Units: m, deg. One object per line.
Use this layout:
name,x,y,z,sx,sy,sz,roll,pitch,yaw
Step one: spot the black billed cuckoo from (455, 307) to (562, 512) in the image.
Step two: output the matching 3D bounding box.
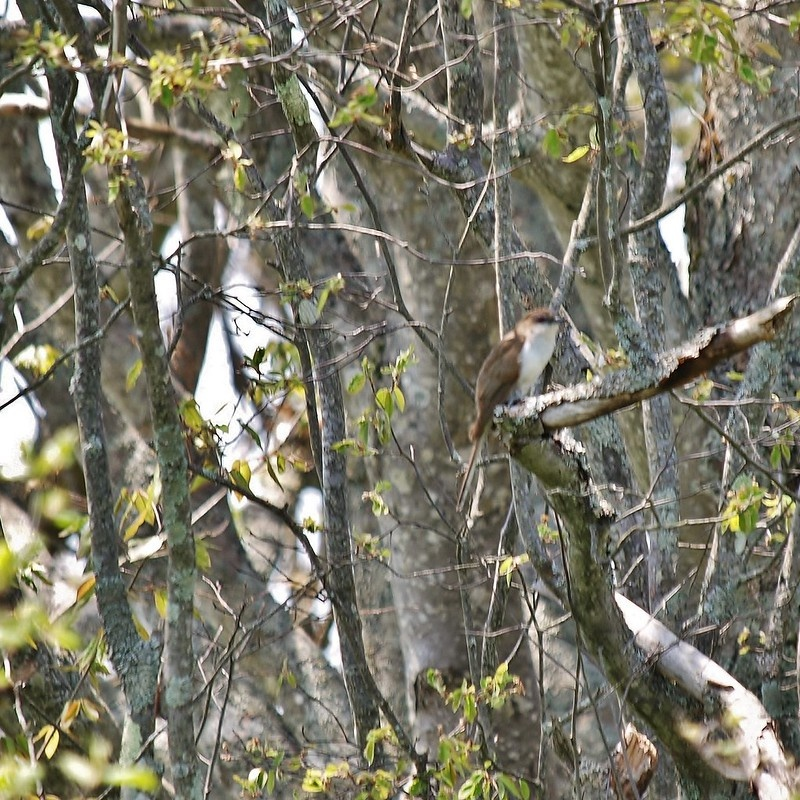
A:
black billed cuckoo,0.604,0.011,10.468,0.253,0.400,1.143,24,-86,-49
